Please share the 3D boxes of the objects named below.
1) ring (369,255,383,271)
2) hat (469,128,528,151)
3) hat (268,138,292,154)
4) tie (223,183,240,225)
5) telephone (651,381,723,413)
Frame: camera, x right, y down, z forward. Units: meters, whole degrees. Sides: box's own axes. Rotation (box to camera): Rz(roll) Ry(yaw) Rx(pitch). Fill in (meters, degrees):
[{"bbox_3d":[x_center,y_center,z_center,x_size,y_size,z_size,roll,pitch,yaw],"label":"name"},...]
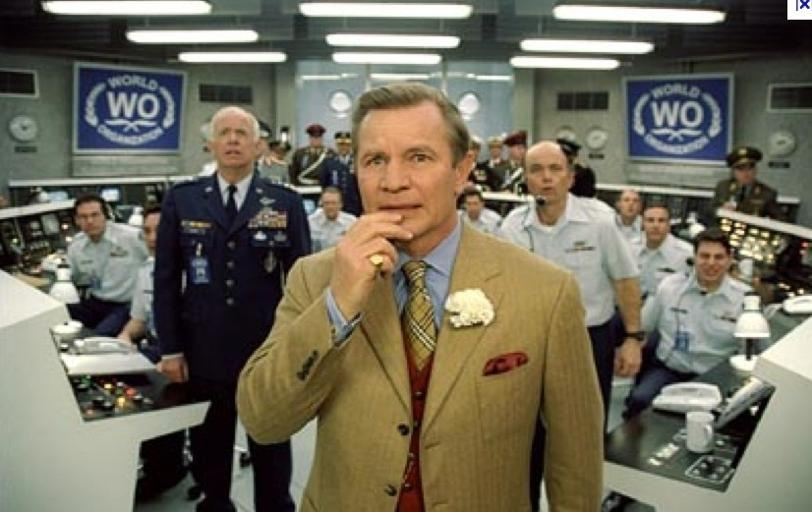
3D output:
[{"bbox_3d":[-0.099,0.018,2.142,0.047,0.048,0.019,0,9,-2],"label":"ring"},{"bbox_3d":[1.360,-1.621,9.014,0.695,0.299,0.544,3,9,28],"label":"hat"},{"bbox_3d":[-1.968,-1.665,9.841,0.249,0.175,0.313,3,7,9],"label":"hat"},{"bbox_3d":[-1.004,-0.292,3.691,0.053,0.254,0.067,1,-15,-3],"label":"tie"},{"bbox_3d":[1.627,0.822,3.719,0.277,0.094,0.204,0,1,15],"label":"telephone"}]
